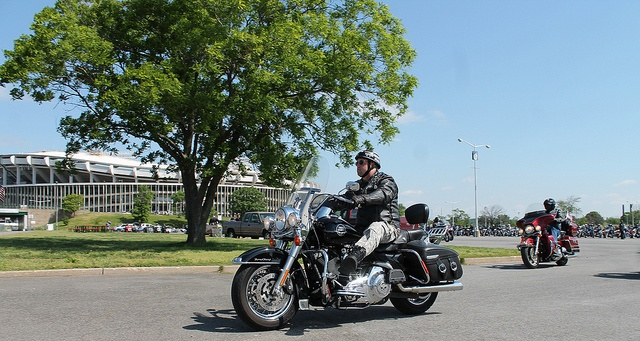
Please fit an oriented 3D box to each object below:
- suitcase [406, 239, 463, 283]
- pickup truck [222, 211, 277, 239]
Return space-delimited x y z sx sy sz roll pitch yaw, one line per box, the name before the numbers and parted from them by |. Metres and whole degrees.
suitcase | 3.527 2.869 16.617 1.648 0.964 1.507 -3 -4 -10
pickup truck | -5.419 4.961 44.993 6.706 2.169 2.845 -4 -9 38
